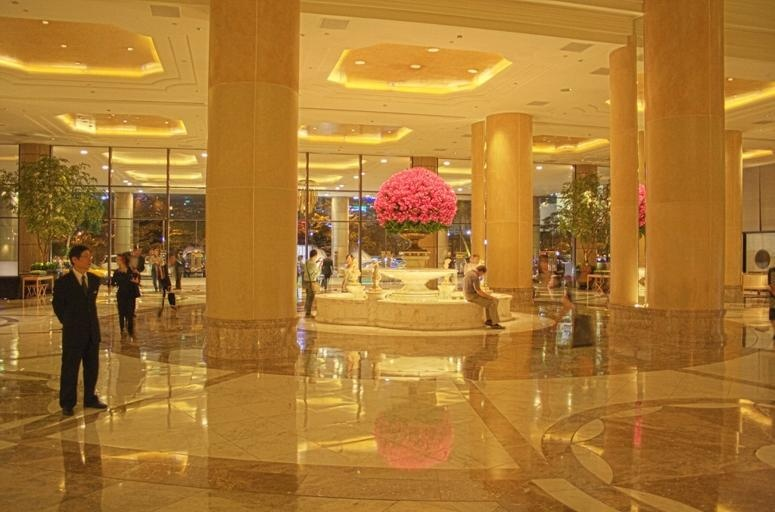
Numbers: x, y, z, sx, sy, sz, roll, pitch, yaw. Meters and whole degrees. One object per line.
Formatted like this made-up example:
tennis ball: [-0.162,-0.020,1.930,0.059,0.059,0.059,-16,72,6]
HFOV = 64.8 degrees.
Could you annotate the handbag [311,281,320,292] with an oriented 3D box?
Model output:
handbag: [-1.746,0.760,15.374,0.151,0.281,0.423,3,10,13]

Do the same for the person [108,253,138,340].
person: [-5.687,0.830,13.404,0.512,1.875,1.522,-3,11,-22]

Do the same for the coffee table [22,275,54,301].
coffee table: [-12.045,1.078,21.081,0.598,0.728,1.033,2,-2,-7]

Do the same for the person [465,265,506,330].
person: [2.242,0.916,14.134,0.888,1.438,0.577,2,10,7]

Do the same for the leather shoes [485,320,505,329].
leather shoes: [2.488,1.585,14.113,0.489,0.189,0.161,-1,-1,24]
